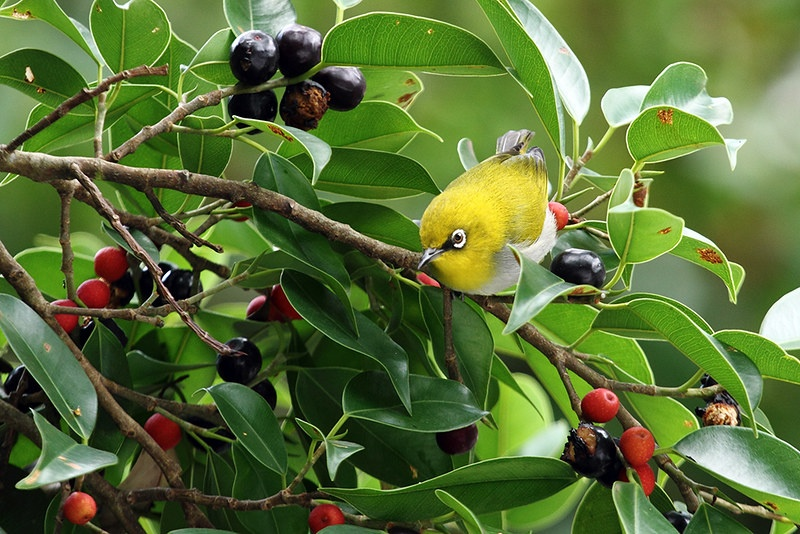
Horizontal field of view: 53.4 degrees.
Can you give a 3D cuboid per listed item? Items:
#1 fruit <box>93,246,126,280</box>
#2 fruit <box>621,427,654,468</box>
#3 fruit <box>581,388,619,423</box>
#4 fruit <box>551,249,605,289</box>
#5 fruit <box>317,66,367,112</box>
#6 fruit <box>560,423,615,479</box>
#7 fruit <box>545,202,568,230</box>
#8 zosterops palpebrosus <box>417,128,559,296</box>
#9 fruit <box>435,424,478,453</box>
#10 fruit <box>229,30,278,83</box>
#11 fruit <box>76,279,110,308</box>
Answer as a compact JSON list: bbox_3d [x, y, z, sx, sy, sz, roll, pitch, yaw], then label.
[{"bbox_3d":[-0.503,-0.006,1.382,0.037,0.044,0.038,25,11,0],"label":"fruit"},{"bbox_3d":[0.358,0.270,1.204,0.055,0.057,0.035,23,-5,11],"label":"fruit"},{"bbox_3d":[0.310,0.219,1.225,0.047,0.057,0.049,0,-23,44],"label":"fruit"},{"bbox_3d":[0.275,0.001,1.212,0.063,0.050,0.064,18,2,10],"label":"fruit"},{"bbox_3d":[-0.102,-0.301,1.322,0.083,0.064,0.063,4,9,10],"label":"fruit"},{"bbox_3d":[0.286,0.275,1.192,0.084,0.063,0.065,36,-22,-18],"label":"fruit"},{"bbox_3d":[0.250,-0.083,1.300,0.040,0.050,0.042,3,7,1],"label":"fruit"},{"bbox_3d":[0.133,-0.066,1.259,0.148,0.257,0.165,17,10,21],"label":"zosterops palpebrosus"},{"bbox_3d":[0.091,0.261,1.274,0.051,0.062,0.052,4,2,3],"label":"fruit"},{"bbox_3d":[-0.230,-0.327,1.257,0.074,0.092,0.076,3,-2,9],"label":"fruit"},{"bbox_3d":[-0.516,0.045,1.342,0.047,0.057,0.048,6,16,0],"label":"fruit"}]
